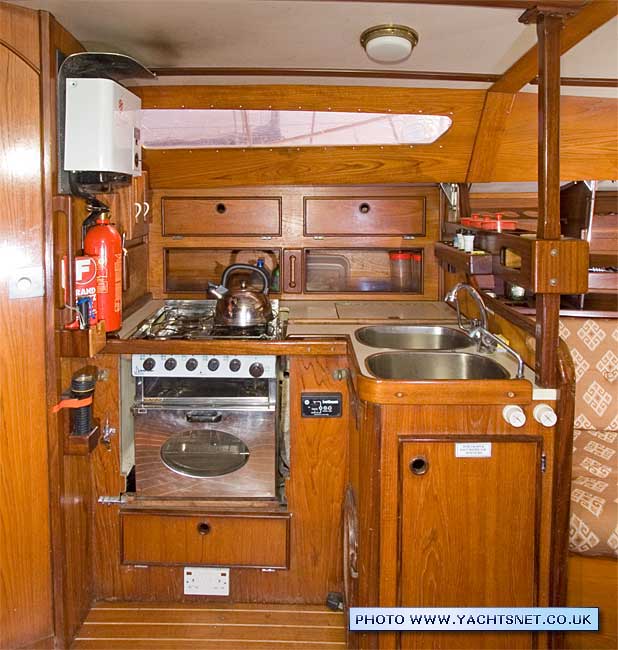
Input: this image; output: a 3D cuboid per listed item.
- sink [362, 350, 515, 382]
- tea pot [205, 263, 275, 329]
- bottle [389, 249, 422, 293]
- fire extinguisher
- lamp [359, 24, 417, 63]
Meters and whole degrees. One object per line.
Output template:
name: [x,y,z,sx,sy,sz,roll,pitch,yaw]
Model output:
sink: [0.445,0.148,2.153,0.367,0.106,0.327,0,5,-1]
tea pot: [-0.314,-0.130,2.786,0.408,0.278,0.281,-2,8,-16]
bottle: [0.494,-0.275,3.252,0.166,0.200,0.050,1,0,6]
fire extinguisher: [-0.754,-0.199,2.297,0.166,0.513,0.156,-6,24,-32]
lamp: [0.269,-0.917,2.085,0.192,0.057,0.182,6,-1,-37]
